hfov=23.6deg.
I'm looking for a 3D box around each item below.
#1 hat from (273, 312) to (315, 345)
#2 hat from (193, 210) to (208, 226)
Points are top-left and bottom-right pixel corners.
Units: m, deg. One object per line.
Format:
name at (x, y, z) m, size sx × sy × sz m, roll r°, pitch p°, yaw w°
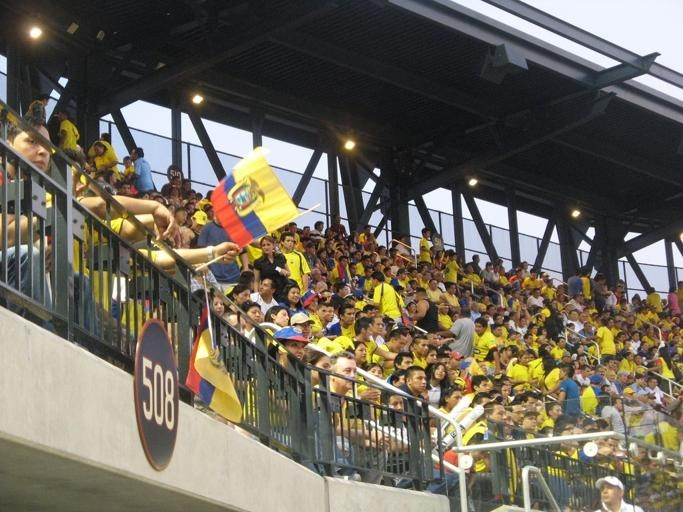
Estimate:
hat at (-0.674, 1.005, 22.769) m, size 0.493 × 0.268 × 0.320 m, roll 18°, pitch -5°, yaw -11°
hat at (-2.468, -0.651, 28.156) m, size 0.195 × 0.143 × 0.266 m, roll 32°, pitch -1°, yaw -33°
